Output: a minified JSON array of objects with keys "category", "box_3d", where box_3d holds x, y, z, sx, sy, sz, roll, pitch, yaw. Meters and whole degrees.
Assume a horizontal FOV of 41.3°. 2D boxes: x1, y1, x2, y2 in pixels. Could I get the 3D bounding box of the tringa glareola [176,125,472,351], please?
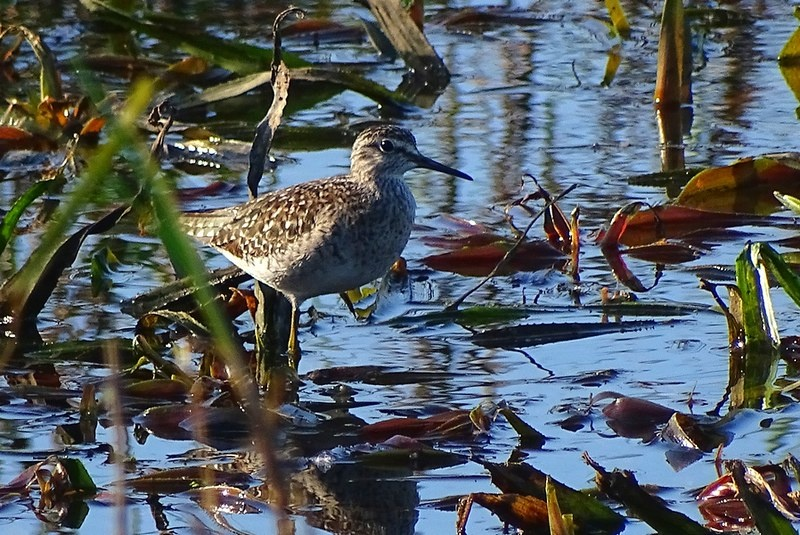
[{"category":"tringa glareola","box_3d":[-0.340,-0.301,5.744,1.665,0.996,0.804,1,3,16]}]
